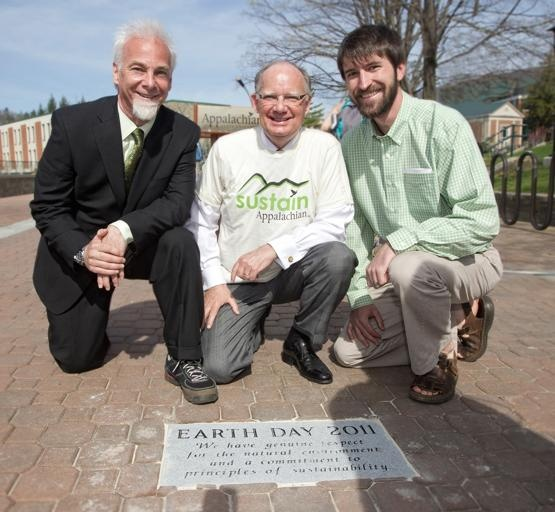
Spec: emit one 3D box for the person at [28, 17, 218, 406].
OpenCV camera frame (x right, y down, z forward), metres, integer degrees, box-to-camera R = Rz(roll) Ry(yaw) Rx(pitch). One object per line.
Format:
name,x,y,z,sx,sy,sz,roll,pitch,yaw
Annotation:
person,-0.909,-0.298,2.724,1.137,2.111,0.740,1,10,2

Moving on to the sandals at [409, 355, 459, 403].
sandals,0.897,0.710,2.658,0.167,0.143,0.365,-3,-2,31

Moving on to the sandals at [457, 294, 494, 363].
sandals,1.337,0.510,3.151,0.178,0.445,0.247,-6,18,-22

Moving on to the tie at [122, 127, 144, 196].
tie,-0.846,-0.581,2.807,0.085,0.365,0.097,14,-1,-5

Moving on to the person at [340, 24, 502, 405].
person,0.859,-0.331,2.906,0.972,2.220,0.832,10,14,42

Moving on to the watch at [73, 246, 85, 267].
watch,-1.105,0.004,2.598,0.034,0.089,0.089,22,55,4
